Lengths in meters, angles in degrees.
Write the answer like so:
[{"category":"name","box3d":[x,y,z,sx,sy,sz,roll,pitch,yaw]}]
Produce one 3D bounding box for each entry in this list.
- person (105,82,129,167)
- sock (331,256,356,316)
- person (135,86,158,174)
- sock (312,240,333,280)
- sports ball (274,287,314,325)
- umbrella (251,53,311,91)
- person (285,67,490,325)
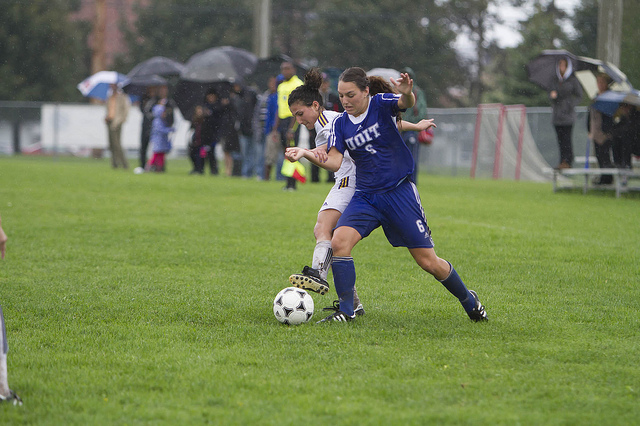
[{"category":"person","box3d":[-1.924,-0.840,9.745,0.213,0.798,0.191,0,2,-11]},{"category":"sock","box3d":[0.204,0.643,9.145,0.194,0.527,0.242,0,-1,-15]},{"category":"person","box3d":[-1.669,-0.793,9.842,0.197,0.815,0.132,2,3,43]},{"category":"sock","box3d":[0.030,0.422,9.290,0.209,0.341,0.188,-1,3,-28]},{"category":"sports ball","box3d":[-0.234,0.825,9.072,0.275,0.344,0.305,1,1,5]},{"category":"umbrella","box3d":[-0.625,-2.351,16.442,1.012,0.459,1.259,-1,28,0]},{"category":"person","box3d":[0.530,-0.141,9.051,1.417,2.252,0.492,1,2,7]}]
